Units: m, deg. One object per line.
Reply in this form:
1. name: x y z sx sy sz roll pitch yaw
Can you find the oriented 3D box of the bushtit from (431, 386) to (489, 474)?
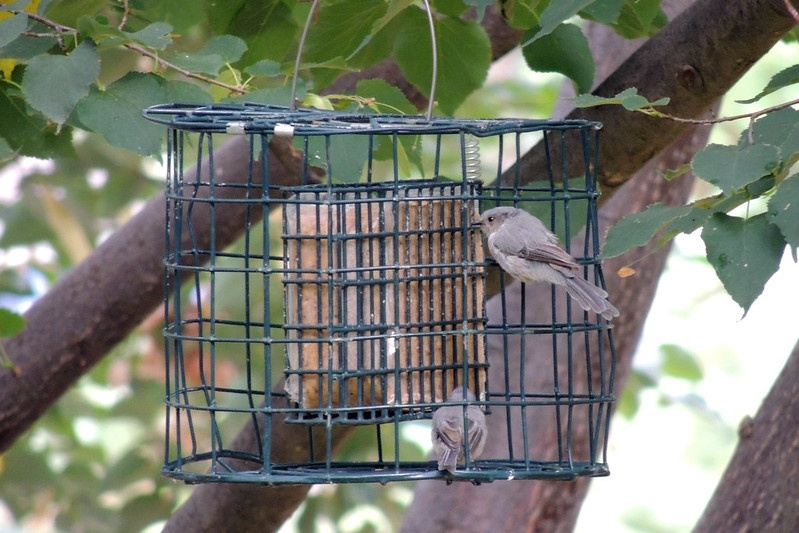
1. bushtit: 0.392 1.127 12.831 0.297 0.447 0.617 21 -64 -12
